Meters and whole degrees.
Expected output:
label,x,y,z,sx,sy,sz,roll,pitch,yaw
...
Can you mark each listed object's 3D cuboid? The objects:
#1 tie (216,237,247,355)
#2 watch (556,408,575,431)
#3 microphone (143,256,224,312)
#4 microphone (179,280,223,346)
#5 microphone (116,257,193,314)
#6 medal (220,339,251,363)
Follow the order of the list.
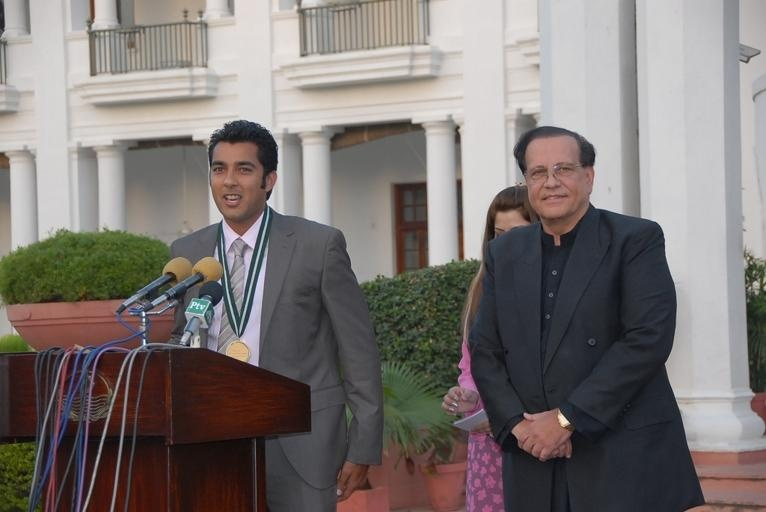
label,x,y,z,sx,sy,sz,roll,pitch,yaw
tie,-0.864,0.216,6.052,0.140,0.597,0.095,4,-16,4
watch,0.998,0.893,5.808,0.052,0.110,0.078,-22,41,-36
microphone,-1.062,0.158,5.596,0.174,0.187,0.576,-15,13,39
microphone,-0.973,0.299,5.561,0.258,0.344,0.241,0,-6,-29
microphone,-1.210,0.164,5.582,0.150,0.143,0.523,0,24,36
medal,-0.811,0.515,5.830,0.145,0.119,0.308,-2,-5,-7
